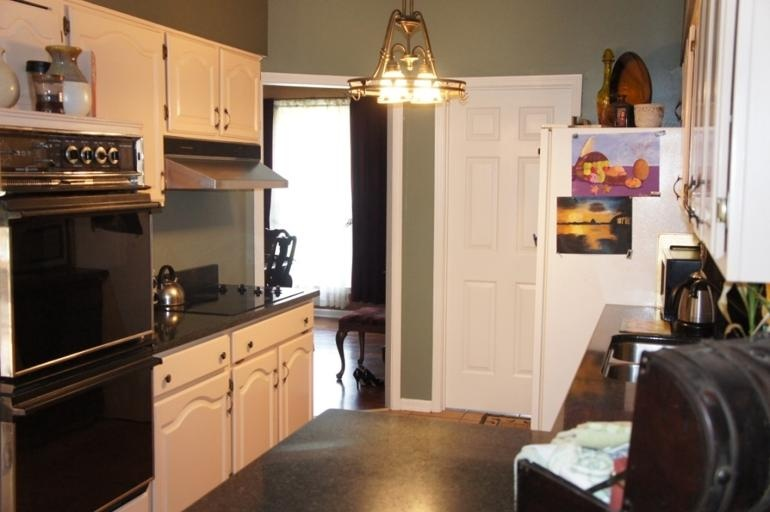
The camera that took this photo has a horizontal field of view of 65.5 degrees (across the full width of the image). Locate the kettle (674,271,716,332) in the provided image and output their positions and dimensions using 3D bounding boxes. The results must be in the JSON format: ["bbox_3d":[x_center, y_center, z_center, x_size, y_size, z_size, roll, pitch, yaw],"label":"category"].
[{"bbox_3d":[1.380,0.204,2.690,0.236,0.252,0.170,-10,12,-39],"label":"kettle"}]

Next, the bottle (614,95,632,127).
[{"bbox_3d":[1.438,-0.874,3.600,0.103,0.186,0.206,4,11,23],"label":"bottle"}]

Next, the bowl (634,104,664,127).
[{"bbox_3d":[1.524,-0.809,3.451,0.145,0.121,0.138,-3,10,0],"label":"bowl"}]

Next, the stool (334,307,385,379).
[{"bbox_3d":[-0.207,0.806,5.694,0.585,0.517,0.595,1,8,3],"label":"stool"}]

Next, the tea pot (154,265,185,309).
[{"bbox_3d":[-1.261,0.187,3.502,0.165,0.246,0.243,2,6,8],"label":"tea pot"}]

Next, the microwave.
[{"bbox_3d":[1.419,0.102,2.869,0.220,0.292,0.432,0,10,21],"label":"microwave"}]

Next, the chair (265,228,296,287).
[{"bbox_3d":[-1.196,0.022,6.909,0.333,0.624,0.772,-2,11,-11],"label":"chair"}]

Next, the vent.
[{"bbox_3d":[-0.912,-0.548,3.567,0.311,0.318,0.855,5,12,25],"label":"vent"}]

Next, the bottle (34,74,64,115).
[{"bbox_3d":[-1.408,-0.687,2.524,0.111,0.155,0.059,-6,12,-30],"label":"bottle"}]
